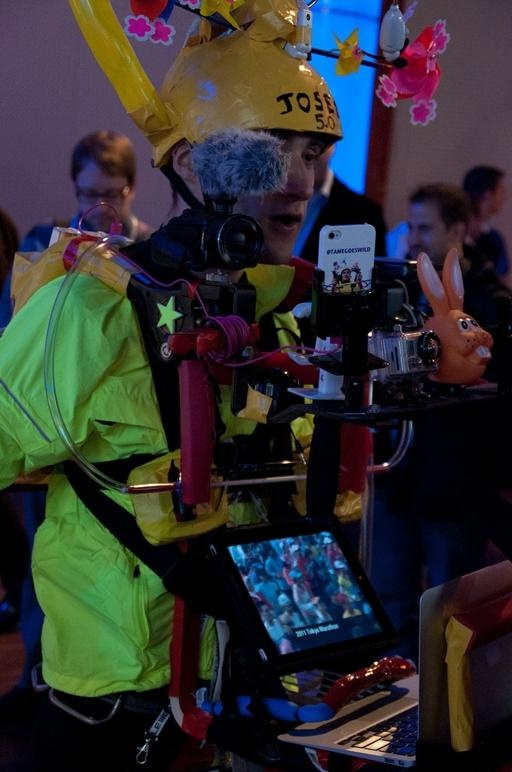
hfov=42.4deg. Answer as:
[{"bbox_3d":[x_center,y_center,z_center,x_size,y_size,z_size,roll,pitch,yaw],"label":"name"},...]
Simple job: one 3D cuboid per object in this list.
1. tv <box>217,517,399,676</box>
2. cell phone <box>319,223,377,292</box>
[{"bbox_3d":[0.038,0.282,0.890,0.240,0.214,0.063,-6,-23,-45],"label":"tv"},{"bbox_3d":[0.100,-0.139,0.726,0.085,0.087,0.013,-2,4,-28],"label":"cell phone"}]
